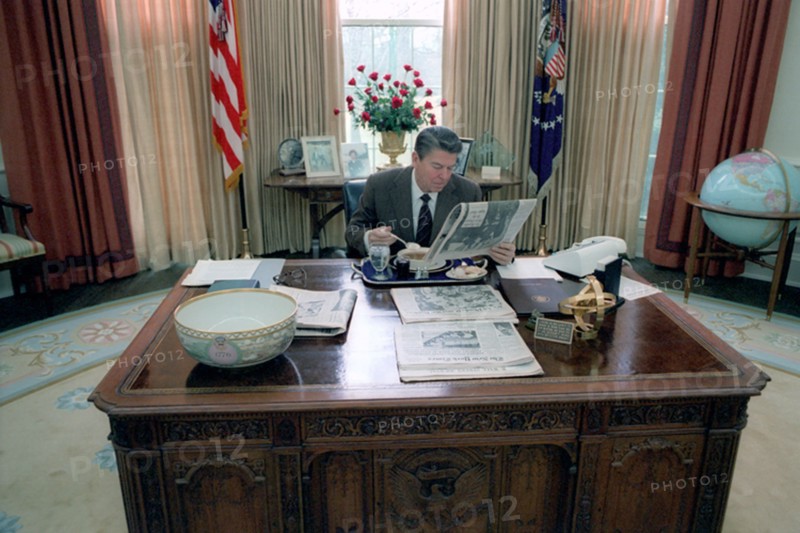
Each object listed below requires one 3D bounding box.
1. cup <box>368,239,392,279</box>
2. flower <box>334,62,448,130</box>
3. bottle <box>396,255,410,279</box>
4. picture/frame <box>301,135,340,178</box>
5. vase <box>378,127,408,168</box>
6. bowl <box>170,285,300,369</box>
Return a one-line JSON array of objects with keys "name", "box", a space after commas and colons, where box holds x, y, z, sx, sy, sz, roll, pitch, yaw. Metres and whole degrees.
[{"name": "cup", "box": [-0.105, -0.038, 3.246, 0.136, 0.221, 0.147, 0, 16, 0]}, {"name": "flower", "box": [-0.062, -1.421, 5.152, 0.674, 0.469, 0.534, -8, 12, -10]}, {"name": "bottle", "box": [0.026, 0.014, 3.142, 0.066, 0.102, 0.104, -1, 15, 0]}, {"name": "picture/frame", "box": [-0.718, -1.005, 5.279, 0.356, 0.419, 0.017, -10, -2, -25]}, {"name": "vase", "box": [-0.014, -1.059, 5.182, 0.288, 0.337, 0.276, -1, 11, -2]}, {"name": "bowl", "box": [-0.724, 0.271, 2.563, 0.526, 0.219, 0.508, 1, 21, 0]}]
